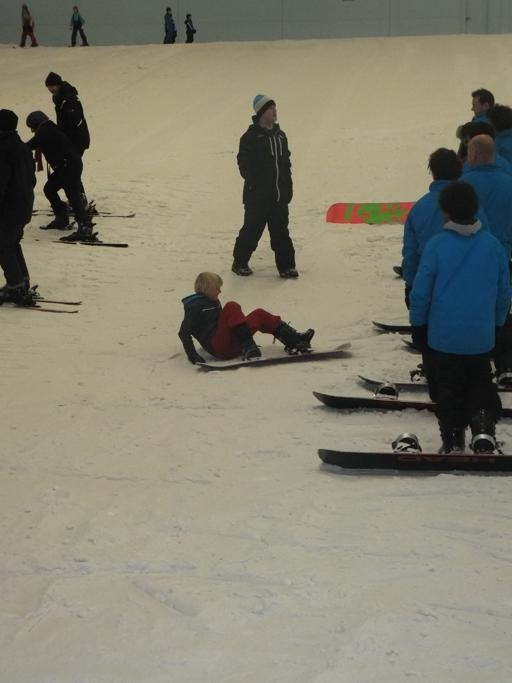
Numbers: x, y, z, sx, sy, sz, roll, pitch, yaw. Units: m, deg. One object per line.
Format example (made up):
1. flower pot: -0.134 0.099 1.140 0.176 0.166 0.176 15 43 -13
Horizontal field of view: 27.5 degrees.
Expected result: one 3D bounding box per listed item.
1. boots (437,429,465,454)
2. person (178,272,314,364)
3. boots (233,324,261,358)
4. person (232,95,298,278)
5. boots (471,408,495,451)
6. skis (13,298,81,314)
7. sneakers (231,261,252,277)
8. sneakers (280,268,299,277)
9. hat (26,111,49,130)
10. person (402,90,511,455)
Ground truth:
1. boots: 1.035 0.512 5.451 0.107 0.134 0.151 -2 -7 21
2. person: -0.073 -0.184 7.508 0.977 0.596 0.521 2 11 31
3. boots: -0.070 -0.003 7.444 0.172 0.216 0.077 -20 1 -36
4. person: 0.076 -1.390 9.675 0.594 1.705 0.566 -7 17 -10
5. boots: 1.182 0.429 5.359 0.152 0.177 0.204 3 3 22
6. skis: -1.754 -0.308 8.959 0.579 0.072 0.190 12 22 31
7. sneakers: -0.131 -0.679 10.012 0.203 0.127 0.097 7 56 8
8. sneakers: 0.336 -0.647 9.921 0.074 0.086 0.205 -12 6 -31
9. hat: -2.168 -2.169 10.245 0.176 0.172 0.221 -46 10 -2
10. person: 1.045 -0.102 5.298 0.512 1.390 0.402 -2 17 7
